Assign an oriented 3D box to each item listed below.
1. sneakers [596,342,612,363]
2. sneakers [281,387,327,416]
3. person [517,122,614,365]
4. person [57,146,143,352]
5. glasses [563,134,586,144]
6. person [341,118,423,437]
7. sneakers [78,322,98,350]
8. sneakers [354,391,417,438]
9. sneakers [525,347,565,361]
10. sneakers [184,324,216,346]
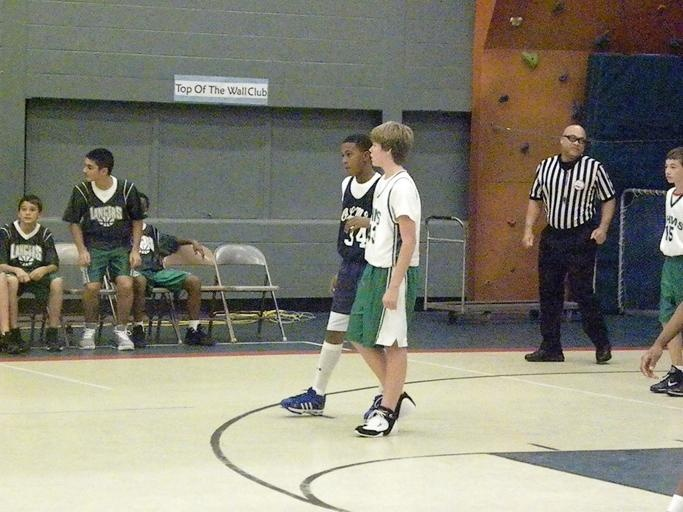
[{"bbox_3d":[2.456,0.913,8.870,0.096,0.104,0.246,-2,-17,-2],"label":"sneakers"},{"bbox_3d":[-0.248,1.045,6.766,0.332,0.169,0.145,4,-1,-10],"label":"sneakers"},{"bbox_3d":[2.173,-0.107,8.964,0.832,2.208,0.503,2,6,12],"label":"person"},{"bbox_3d":[-2.329,-0.067,9.373,0.766,1.942,0.502,0,6,-12],"label":"person"},{"bbox_3d":[2.195,-1.083,8.903,0.199,0.074,0.164,2,5,9],"label":"glasses"},{"bbox_3d":[0.289,0.148,6.360,0.462,2.072,0.411,1,6,0],"label":"person"},{"bbox_3d":[-2.499,0.777,9.399,0.156,0.261,0.379,-1,6,-15],"label":"sneakers"},{"bbox_3d":[0.267,1.078,6.363,0.191,0.179,0.494,-2,24,47],"label":"sneakers"},{"bbox_3d":[1.947,0.937,9.063,0.378,0.151,0.131,2,-1,0],"label":"sneakers"},{"bbox_3d":[-1.451,0.826,9.845,0.336,0.186,0.160,1,0,14],"label":"sneakers"}]
